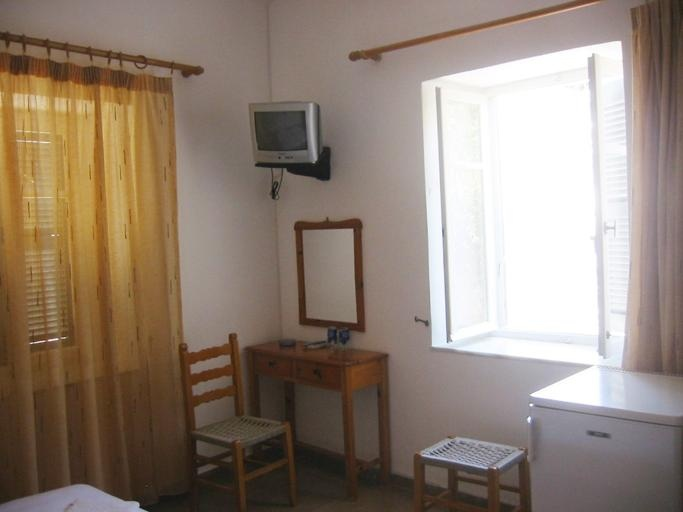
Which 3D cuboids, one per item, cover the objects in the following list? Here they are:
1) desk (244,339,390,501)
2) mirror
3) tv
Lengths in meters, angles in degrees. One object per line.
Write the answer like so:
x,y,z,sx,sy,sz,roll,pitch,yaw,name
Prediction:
-0.202,1.082,4.121,0.393,0.878,0.958,-4,3,-44,desk
-0.089,0.129,4.217,0.626,0.794,0.048,-1,1,40,mirror
-0.373,-0.833,3.944,0.442,0.379,0.243,1,19,10,tv
